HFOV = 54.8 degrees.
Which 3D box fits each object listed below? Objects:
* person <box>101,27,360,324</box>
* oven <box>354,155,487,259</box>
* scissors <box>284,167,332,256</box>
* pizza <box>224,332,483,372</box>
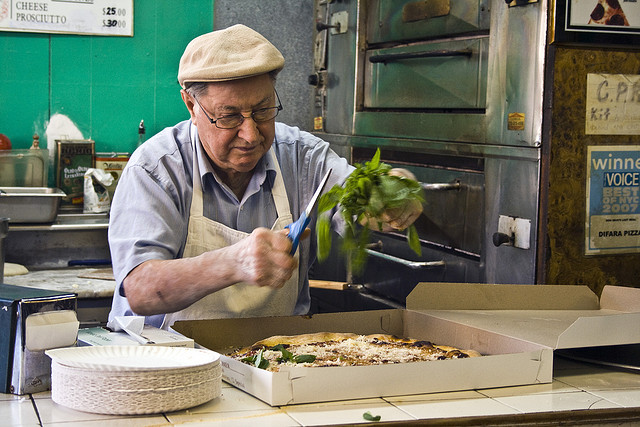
[{"bbox_3d":[-0.329,-0.184,2.292,0.874,1.019,0.806,-3,5,-23],"label":"person"},{"bbox_3d":[0.453,-0.025,2.696,0.411,0.400,0.591,-11,14,-38],"label":"oven"},{"bbox_3d":[-0.041,-0.004,2.008,0.096,0.273,0.146,2,11,-10],"label":"scissors"},{"bbox_3d":[0.089,0.463,2.052,0.794,0.062,0.755,0,-3,0],"label":"pizza"}]
